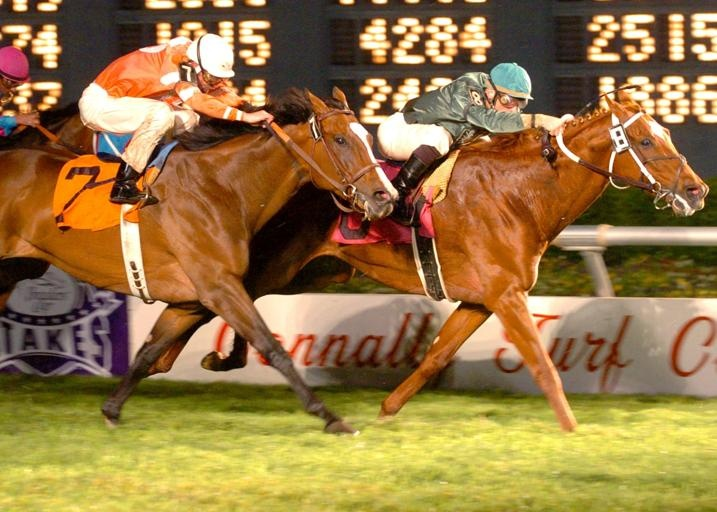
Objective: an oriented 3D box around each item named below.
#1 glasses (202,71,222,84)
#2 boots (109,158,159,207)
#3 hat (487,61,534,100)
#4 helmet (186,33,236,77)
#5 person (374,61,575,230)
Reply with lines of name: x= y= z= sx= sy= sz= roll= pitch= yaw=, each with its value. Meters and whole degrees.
glasses: x=-0.859 y=-1.063 z=5.753 sx=0.098 sy=0.045 sz=0.081 roll=22 pitch=10 yaw=30
boots: x=-1.309 y=-0.430 z=5.630 sx=0.169 sy=0.234 sz=0.352 roll=17 pitch=14 yaw=36
hat: x=0.939 y=-1.078 z=5.989 sx=0.355 sy=0.155 sz=0.218 roll=22 pitch=31 yaw=2
helmet: x=-0.873 y=-1.189 z=5.760 sx=0.270 sy=0.251 sz=0.197 roll=0 pitch=12 yaw=0
person: x=0.857 y=-0.806 z=6.075 sx=1.470 sy=0.678 sz=0.652 roll=-4 pitch=22 yaw=13
